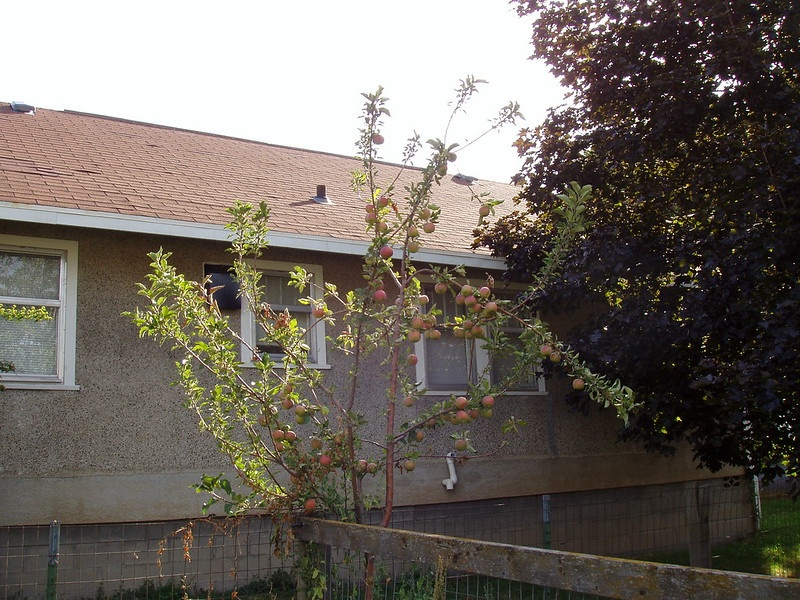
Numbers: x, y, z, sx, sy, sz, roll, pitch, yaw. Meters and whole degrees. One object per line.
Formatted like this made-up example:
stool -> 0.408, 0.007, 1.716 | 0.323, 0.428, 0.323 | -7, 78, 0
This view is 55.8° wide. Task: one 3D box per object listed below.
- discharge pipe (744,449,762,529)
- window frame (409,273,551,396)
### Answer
discharge pipe -> 6.365, 3.471, 13.595 | 0.136, 1.346, 0.134 | 6, -18, 22
window frame -> 1.212, 0.639, 11.448 | 1.916, 1.739, 0.102 | 2, 10, 17
